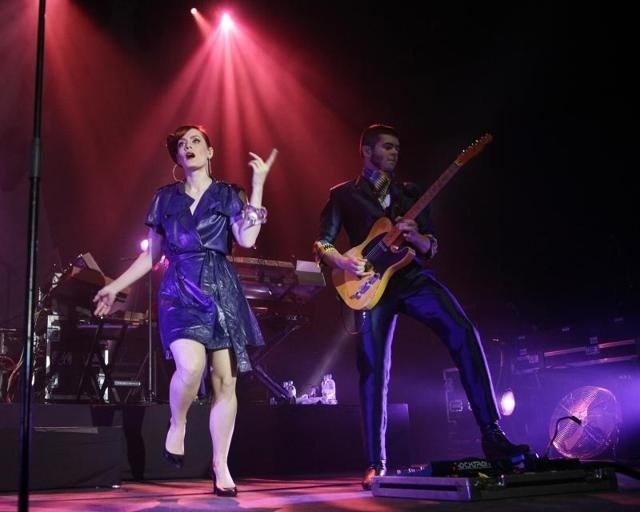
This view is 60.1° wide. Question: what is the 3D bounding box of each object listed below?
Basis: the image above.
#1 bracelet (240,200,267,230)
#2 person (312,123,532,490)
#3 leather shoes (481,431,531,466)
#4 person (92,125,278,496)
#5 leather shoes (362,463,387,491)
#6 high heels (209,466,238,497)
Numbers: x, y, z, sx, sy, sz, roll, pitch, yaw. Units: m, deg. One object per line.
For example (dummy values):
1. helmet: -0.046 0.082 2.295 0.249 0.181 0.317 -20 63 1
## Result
1. bracelet: -0.407 -0.259 3.481 0.145 0.149 0.122 -18 4 10
2. person: 0.600 0.162 3.638 1.084 2.565 0.862 -10 -24 12
3. leather shoes: 1.060 1.062 3.163 0.098 0.208 0.269 5 -19 -43
4. person: -0.782 0.277 3.412 0.844 2.306 0.367 0 -15 -9
5. leather shoes: 0.318 1.351 3.364 0.090 0.117 0.271 -15 -21 13
6. high heels: -0.585 1.357 3.287 0.179 0.206 0.102 -12 -28 16
